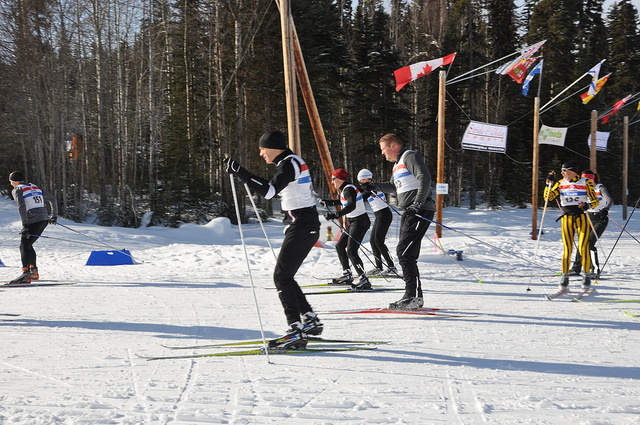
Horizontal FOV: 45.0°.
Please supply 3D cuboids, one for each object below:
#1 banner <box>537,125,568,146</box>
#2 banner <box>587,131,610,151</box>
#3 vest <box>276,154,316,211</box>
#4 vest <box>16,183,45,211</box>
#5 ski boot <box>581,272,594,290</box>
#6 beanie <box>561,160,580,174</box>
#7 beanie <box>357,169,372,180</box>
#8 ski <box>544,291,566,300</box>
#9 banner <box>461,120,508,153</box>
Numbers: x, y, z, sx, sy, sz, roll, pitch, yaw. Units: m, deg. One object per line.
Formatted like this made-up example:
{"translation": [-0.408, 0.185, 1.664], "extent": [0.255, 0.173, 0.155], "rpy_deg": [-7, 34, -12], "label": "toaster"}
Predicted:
{"translation": [10.470, -3.479, 34.832], "extent": [1.133, 0.868, 0.989], "rpy_deg": [2, 3, 17], "label": "banner"}
{"translation": [14.295, -3.678, 39.560], "extent": [0.828, 0.971, 2.150], "rpy_deg": [2, 3, 18], "label": "banner"}
{"translation": [-0.961, -0.960, 23.719], "extent": [1.491, 1.789, 1.544], "rpy_deg": [-1, 13, 10], "label": "vest"}
{"translation": [-10.381, -0.562, 27.831], "extent": [0.885, 0.897, 0.396], "rpy_deg": [-2, 5, -41], "label": "vest"}
{"translation": [9.087, 2.332, 26.288], "extent": [0.233, 0.569, 0.250], "rpy_deg": [3, 4, 17], "label": "ski boot"}
{"translation": [8.760, -1.560, 26.733], "extent": [0.636, 0.438, 0.381], "rpy_deg": [-2, 5, -44], "label": "beanie"}
{"translation": [1.575, -1.323, 27.067], "extent": [0.440, 0.332, 0.405], "rpy_deg": [1, 3, 3], "label": "beanie"}
{"translation": [8.014, 2.761, 25.968], "extent": [1.388, 0.166, 0.167], "rpy_deg": [-6, 41, -36], "label": "ski"}
{"translation": [7.129, -3.290, 33.254], "extent": [1.712, 1.303, 0.640], "rpy_deg": [2, 4, 21], "label": "banner"}
